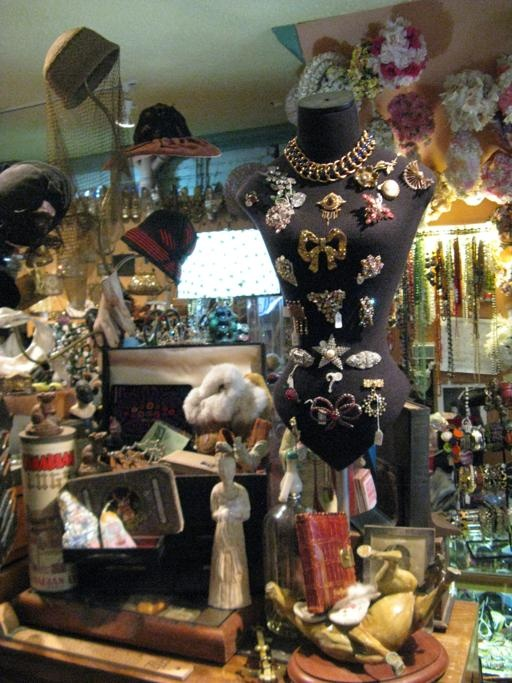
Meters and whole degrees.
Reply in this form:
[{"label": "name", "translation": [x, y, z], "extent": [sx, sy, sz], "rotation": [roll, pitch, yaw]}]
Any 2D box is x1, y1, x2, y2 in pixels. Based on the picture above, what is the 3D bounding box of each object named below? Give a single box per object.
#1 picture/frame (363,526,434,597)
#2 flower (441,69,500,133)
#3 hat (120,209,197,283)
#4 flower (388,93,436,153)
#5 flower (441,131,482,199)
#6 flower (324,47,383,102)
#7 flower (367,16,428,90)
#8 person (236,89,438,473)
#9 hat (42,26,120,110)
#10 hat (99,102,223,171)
[{"label": "picture/frame", "translation": [0.291, 0.451, 1.137], "extent": [0.134, 0.108, 0.014], "rotation": [1, -10, 17]}, {"label": "flower", "translation": [0.546, -0.607, 1.445], "extent": [0.154, 0.145, 0.079], "rotation": [-1, 16, 12]}, {"label": "hat", "translation": [-0.316, -0.295, 1.759], "extent": [0.201, 0.160, 0.113], "rotation": [-49, 22, -24]}, {"label": "flower", "translation": [0.417, -0.600, 1.529], "extent": [0.115, 0.143, 0.075], "rotation": [10, 34, 19]}, {"label": "flower", "translation": [0.558, -0.478, 1.516], "extent": [0.082, 0.162, 0.066], "rotation": [-4, 3, -7]}, {"label": "flower", "translation": [0.267, -0.738, 1.600], "extent": [0.196, 0.098, 0.142], "rotation": [-26, -23, -44]}, {"label": "flower", "translation": [0.367, -0.778, 1.465], "extent": [0.136, 0.053, 0.122], "rotation": [15, -15, -3]}, {"label": "person", "translation": [0.155, -0.123, 1.124], "extent": [0.399, 0.755, 0.150], "rotation": [-3, 3, 16]}, {"label": "hat", "translation": [-0.456, -0.720, 1.486], "extent": [0.191, 0.162, 0.046], "rotation": [-4, 3, -19]}, {"label": "hat", "translation": [-0.269, -0.606, 1.709], "extent": [0.232, 0.132, 0.288], "rotation": [-3, 20, -9]}]
